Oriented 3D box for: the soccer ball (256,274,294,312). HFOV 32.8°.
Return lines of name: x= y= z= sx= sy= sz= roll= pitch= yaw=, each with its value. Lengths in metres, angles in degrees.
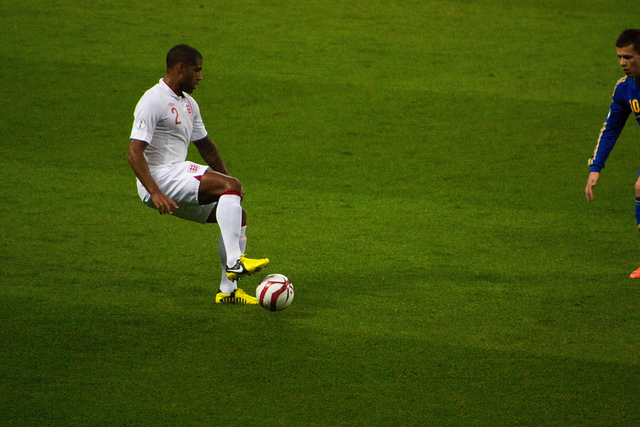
soccer ball: x=-0.431 y=0.807 z=10.582 sx=0.368 sy=0.354 sz=0.262 roll=0 pitch=38 yaw=-2
